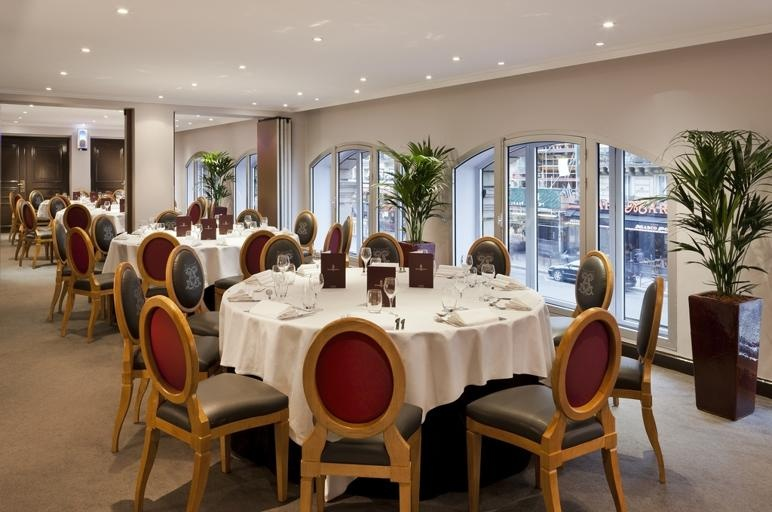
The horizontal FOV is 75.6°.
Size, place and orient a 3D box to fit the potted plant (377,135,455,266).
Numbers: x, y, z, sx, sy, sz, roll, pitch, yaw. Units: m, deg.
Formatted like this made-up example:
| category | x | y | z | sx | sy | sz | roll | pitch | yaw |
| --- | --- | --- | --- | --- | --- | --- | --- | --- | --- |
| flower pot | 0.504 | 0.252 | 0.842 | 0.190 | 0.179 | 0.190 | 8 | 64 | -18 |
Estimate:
| category | x | y | z | sx | sy | sz | roll | pitch | yaw |
| --- | --- | --- | --- | --- | --- | --- | --- | --- | --- |
| potted plant | 0.450 | -0.806 | 7.819 | 1.296 | 1.802 | 1.170 | 1 | -1 | 8 |

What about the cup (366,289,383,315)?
| category | x | y | z | sx | sy | sz | roll | pitch | yaw |
| --- | --- | --- | --- | --- | --- | --- | --- | --- | --- |
| cup | -0.097 | 0.329 | 3.530 | 0.131 | 0.214 | 0.139 | -1 | 3 | 0 |

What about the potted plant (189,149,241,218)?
| category | x | y | z | sx | sy | sz | roll | pitch | yaw |
| --- | --- | --- | --- | --- | --- | --- | --- | --- | --- |
| potted plant | -4.655 | -1.953 | 13.799 | 0.989 | 1.585 | 1.256 | -4 | 1 | 17 |
